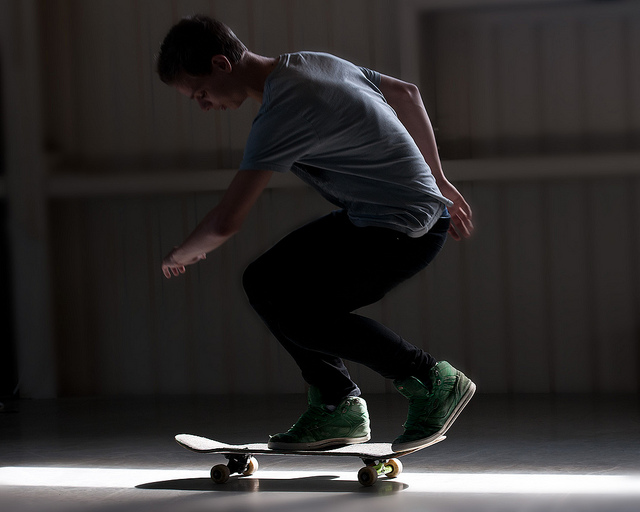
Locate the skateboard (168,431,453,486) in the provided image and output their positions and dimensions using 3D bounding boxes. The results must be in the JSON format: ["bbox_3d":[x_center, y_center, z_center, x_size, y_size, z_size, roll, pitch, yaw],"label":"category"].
[{"bbox_3d":[-0.026,0.801,3.018,0.918,0.220,0.146,-1,-93,13],"label":"skateboard"}]
